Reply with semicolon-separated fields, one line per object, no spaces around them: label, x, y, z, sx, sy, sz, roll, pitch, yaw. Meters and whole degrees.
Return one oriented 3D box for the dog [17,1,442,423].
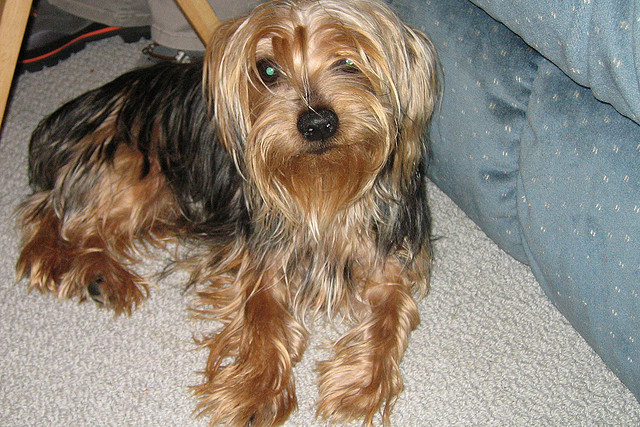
dog;-0.355;-0.113;2.489;1.275;1.058;1.692;-7;36;-17
